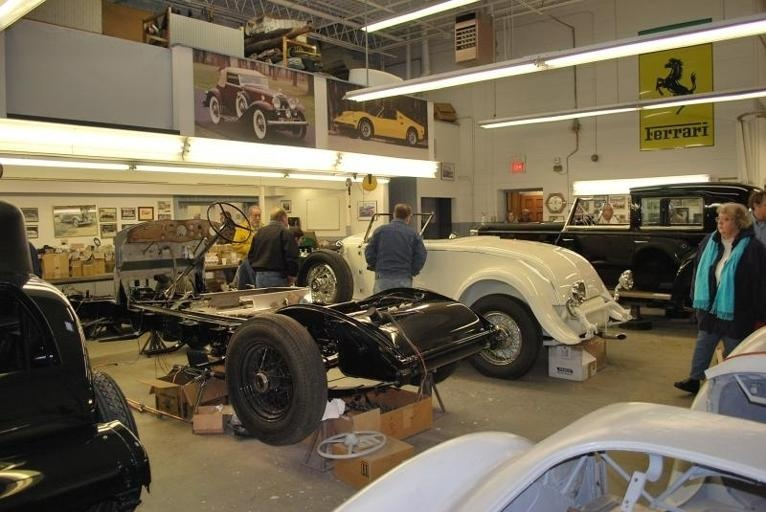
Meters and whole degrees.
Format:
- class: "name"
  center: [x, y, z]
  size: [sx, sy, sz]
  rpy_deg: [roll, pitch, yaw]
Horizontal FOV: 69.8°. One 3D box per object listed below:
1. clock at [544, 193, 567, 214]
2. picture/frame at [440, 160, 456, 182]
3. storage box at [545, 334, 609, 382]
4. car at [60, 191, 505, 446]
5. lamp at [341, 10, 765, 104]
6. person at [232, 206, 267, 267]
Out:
- class: "clock"
  center: [5.109, -1.603, 16.172]
  size: [0.069, 0.513, 0.595]
  rpy_deg: [-7, 12, -41]
- class: "picture/frame"
  center: [2.062, -2.761, 17.558]
  size: [0.052, 0.541, 0.764]
  rpy_deg: [-7, -8, 35]
- class: "storage box"
  center: [2.456, 1.089, 6.956]
  size: [0.449, 0.560, 0.835]
  rpy_deg: [1, 2, 35]
- class: "car"
  center: [-1.551, 0.598, 6.525]
  size: [5.172, 2.136, 2.631]
  rpy_deg: [5, 5, 36]
- class: "lamp"
  center: [2.006, -2.480, 6.898]
  size: [4.582, 0.441, 0.610]
  rpy_deg: [6, 13, 35]
- class: "person"
  center: [-2.061, -0.358, 8.768]
  size: [0.614, 0.932, 0.597]
  rpy_deg: [-3, 14, -39]
